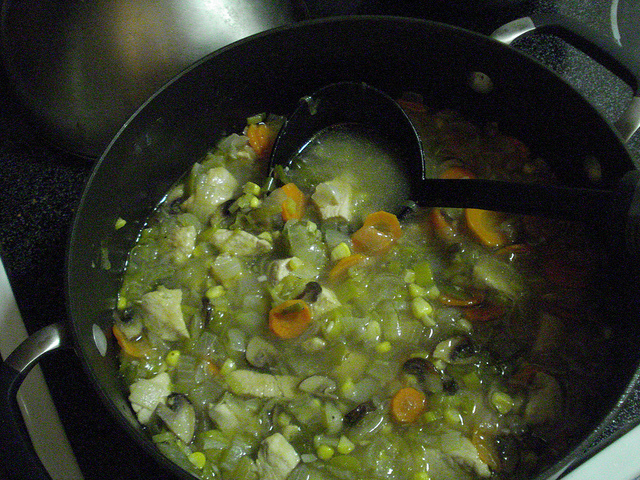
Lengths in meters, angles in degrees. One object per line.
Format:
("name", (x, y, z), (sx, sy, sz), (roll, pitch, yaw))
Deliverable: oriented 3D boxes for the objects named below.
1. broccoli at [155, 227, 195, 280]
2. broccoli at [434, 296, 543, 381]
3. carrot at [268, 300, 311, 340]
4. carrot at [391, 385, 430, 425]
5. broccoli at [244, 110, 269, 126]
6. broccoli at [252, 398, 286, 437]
("broccoli", (-0.611, 0.066, 2.792), (0.067, 0.289, 0.241), (30, 92, 1))
("broccoli", (0.676, 0.410, 2.496), (0.448, 0.077, 0.252), (-19, 80, -4))
("carrot", (-0.111, 0.319, 2.576), (0.136, 0.073, 0.161), (3, 93, 3))
("carrot", (0.339, 0.629, 2.432), (0.131, 0.025, 0.146), (21, 80, 3))
("broccoli", (-0.287, -0.551, 2.876), (0.101, 0.024, 0.053), (-21, 102, -9))
("broccoli", (-0.199, 0.669, 2.423), (0.101, 0.063, 0.150), (18, 80, 3))
